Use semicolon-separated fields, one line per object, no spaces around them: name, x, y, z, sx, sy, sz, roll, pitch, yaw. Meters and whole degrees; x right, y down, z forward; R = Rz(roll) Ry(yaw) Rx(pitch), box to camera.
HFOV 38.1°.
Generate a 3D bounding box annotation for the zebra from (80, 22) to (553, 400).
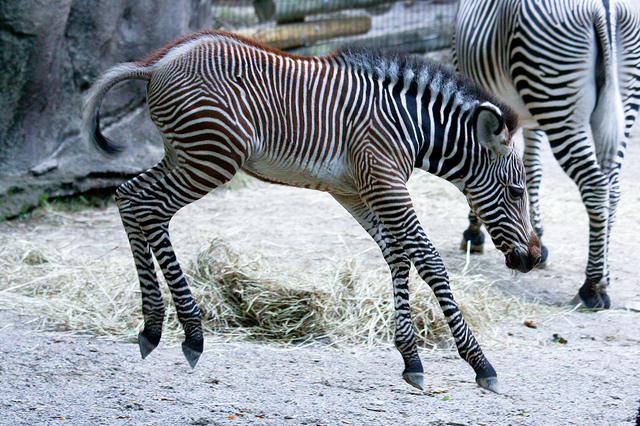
zebra;-0.075;-0.090;6.298;3.453;2.088;0.764;9;-13;-19
